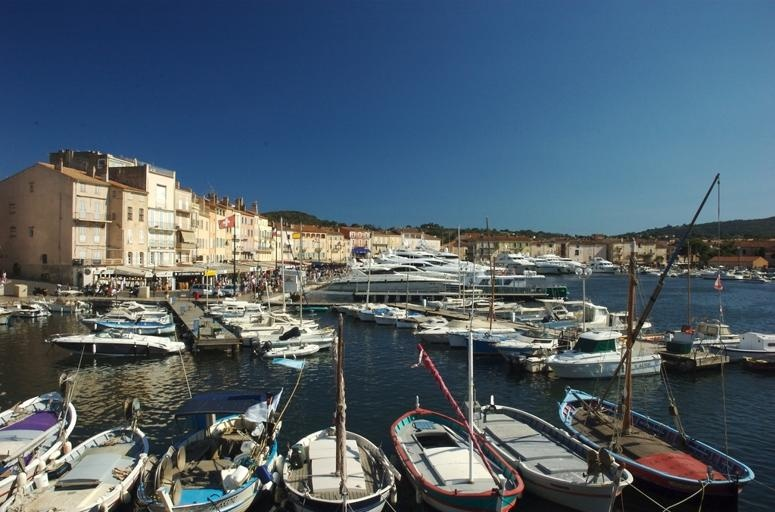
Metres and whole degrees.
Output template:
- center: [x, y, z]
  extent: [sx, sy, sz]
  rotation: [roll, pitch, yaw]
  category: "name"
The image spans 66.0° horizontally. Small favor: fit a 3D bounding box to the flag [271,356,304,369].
- center: [-8.112, 8.639, 48.320]
  extent: [3.740, 1.067, 0.628]
  rotation: [-1, 21, 46]
  category: "flag"
